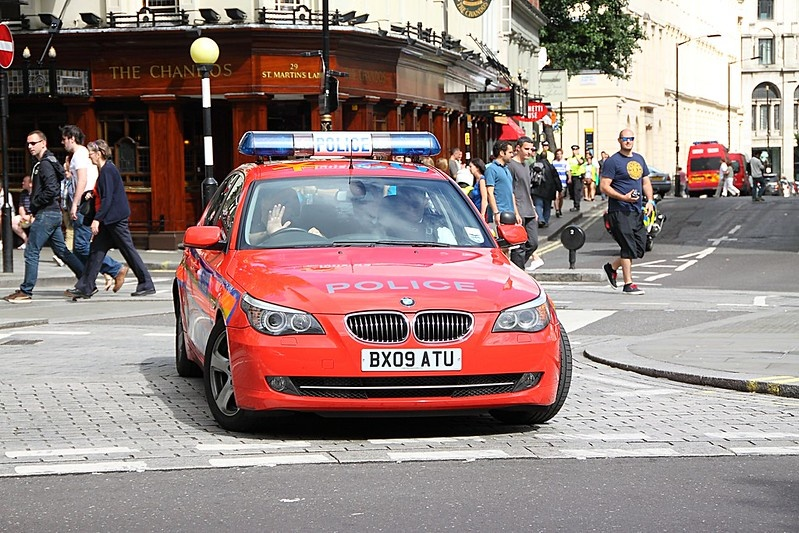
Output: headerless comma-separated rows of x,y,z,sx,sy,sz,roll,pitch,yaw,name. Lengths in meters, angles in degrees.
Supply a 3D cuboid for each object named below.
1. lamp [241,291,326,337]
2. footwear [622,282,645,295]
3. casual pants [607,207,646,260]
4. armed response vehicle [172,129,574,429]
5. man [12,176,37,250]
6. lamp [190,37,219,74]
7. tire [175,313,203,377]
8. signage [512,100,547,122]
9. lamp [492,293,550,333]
-0.821,0.347,5.754,0.647,0.241,0.110,2,4,24,lamp
4.235,0.413,15.225,0.366,0.138,0.182,0,0,45,footwear
4.003,-0.540,14.789,0.648,0.873,0.388,1,4,10,casual pants
-0.428,-0.201,8.156,2.854,2.023,5.211,-1,8,-10,armed response vehicle
-9.936,-1.477,22.456,0.733,1.823,1.079,-3,8,-6,man
-5.062,-5.496,21.851,0.800,0.896,0.792,-7,9,-43,lamp
-1.936,0.736,7.788,0.256,0.725,0.745,-1,1,-10,tire
7.254,-8.210,45.664,1.821,0.421,1.870,-4,37,-5,signage
0.918,0.342,6.020,0.204,0.244,0.628,3,5,36,lamp
